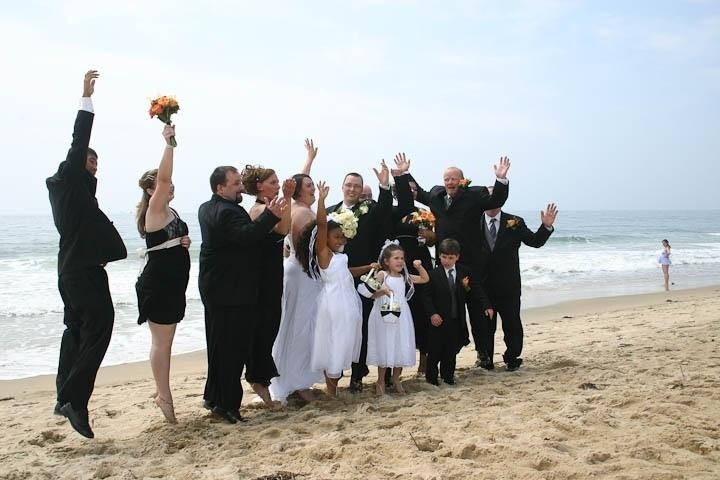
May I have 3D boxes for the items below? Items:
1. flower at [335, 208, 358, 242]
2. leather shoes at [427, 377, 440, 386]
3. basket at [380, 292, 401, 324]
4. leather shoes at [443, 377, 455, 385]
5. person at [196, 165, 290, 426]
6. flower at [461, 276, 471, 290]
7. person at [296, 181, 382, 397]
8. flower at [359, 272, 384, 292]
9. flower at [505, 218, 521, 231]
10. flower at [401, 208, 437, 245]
[{"bbox_3d":[-0.118,-0.232,8.871,0.331,0.339,0.335,5,-7,-44],"label":"flower"},{"bbox_3d":[0.993,1.940,9.186,0.183,0.086,0.170,-4,12,3],"label":"leather shoes"},{"bbox_3d":[0.398,0.892,8.836,0.315,0.474,0.332,2,12,7],"label":"basket"},{"bbox_3d":[1.220,1.942,9.193,0.186,0.104,0.103,1,-8,-8],"label":"leather shoes"},{"bbox_3d":[-1.549,0.661,8.240,1.066,3.064,0.664,-8,12,-15],"label":"person"},{"bbox_3d":[1.457,0.592,9.243,0.070,0.181,0.134,-1,4,11],"label":"flower"},{"bbox_3d":[-0.363,0.670,8.780,0.721,2.865,0.972,3,14,32],"label":"person"},{"bbox_3d":[0.150,0.538,8.825,0.204,0.084,0.254,10,31,-40],"label":"flower"},{"bbox_3d":[2.194,-0.239,9.656,0.159,0.159,0.068,29,16,-3],"label":"flower"},{"bbox_3d":[0.823,-0.191,9.412,0.461,0.469,0.463,-4,-25,2],"label":"flower"}]
